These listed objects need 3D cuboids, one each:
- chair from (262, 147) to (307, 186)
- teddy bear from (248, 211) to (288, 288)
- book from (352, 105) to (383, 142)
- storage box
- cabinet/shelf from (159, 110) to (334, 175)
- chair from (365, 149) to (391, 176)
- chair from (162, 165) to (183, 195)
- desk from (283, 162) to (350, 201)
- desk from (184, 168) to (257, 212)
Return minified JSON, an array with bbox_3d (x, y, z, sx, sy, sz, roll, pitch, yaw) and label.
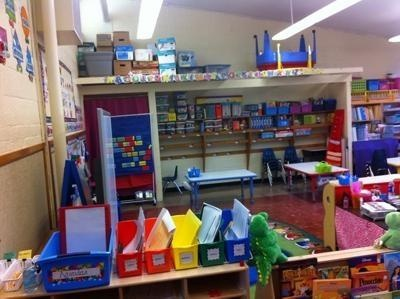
[{"bbox_3d":[2.385,0.487,9.818,1.005,0.842,0.456,-3,3,-25],"label":"chair"},{"bbox_3d":[0.568,0.857,2.975,0.293,0.610,0.250,-14,-30,26],"label":"teddy bear"},{"bbox_3d":[4.758,-0.729,9.761,0.995,1.005,0.330,-2,2,-23],"label":"book"},{"bbox_3d":[-1.468,-2.318,8.374,2.912,1.094,0.803,-5,8,-17],"label":"storage box"},{"bbox_3d":[1.286,-0.019,9.854,4.834,1.805,0.524,-4,7,-9],"label":"cabinet/shelf"},{"bbox_3d":[4.450,0.376,8.664,0.520,0.738,1.166,1,8,26],"label":"chair"},{"bbox_3d":[-0.768,0.829,9.405,0.677,0.991,0.661,0,0,-13],"label":"chair"},{"bbox_3d":[2.775,0.725,8.360,0.949,0.810,1.302,-5,8,-16],"label":"desk"},{"bbox_3d":[0.564,0.861,8.725,1.628,0.733,2.490,-2,8,7],"label":"desk"}]
